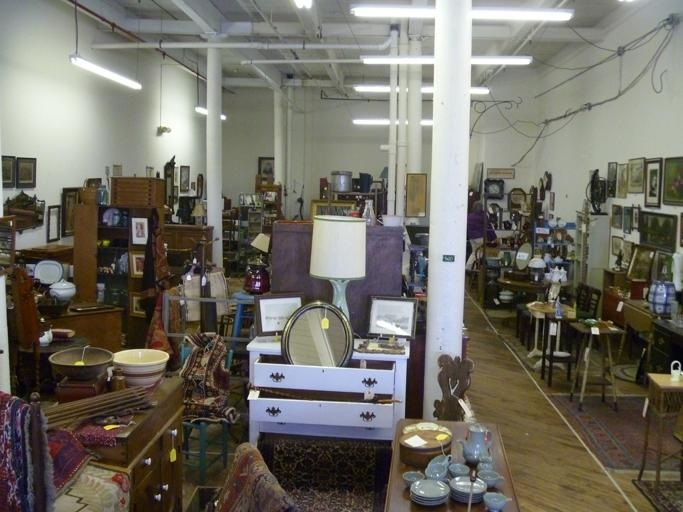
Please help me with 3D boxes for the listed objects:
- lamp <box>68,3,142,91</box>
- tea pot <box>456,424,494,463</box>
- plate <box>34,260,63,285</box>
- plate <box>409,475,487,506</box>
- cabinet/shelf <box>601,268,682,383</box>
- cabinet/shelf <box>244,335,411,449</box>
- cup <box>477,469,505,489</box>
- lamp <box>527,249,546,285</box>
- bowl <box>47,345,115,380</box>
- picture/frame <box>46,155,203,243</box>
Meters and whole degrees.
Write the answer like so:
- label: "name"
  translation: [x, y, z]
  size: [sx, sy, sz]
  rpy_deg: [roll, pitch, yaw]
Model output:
- label: "lamp"
  translation: [-4.425, -3.875, 10.070]
  size: [1.021, 1.284, 3.162]
  rpy_deg: [2, 11, -9]
- label: "tea pot"
  translation: [0.903, 1.278, 3.761]
  size: [0.240, 0.269, 0.174]
  rpy_deg: [1, -2, -20]
- label: "plate"
  translation: [-4.184, 0.224, 7.866]
  size: [0.367, 0.389, 0.102]
  rpy_deg: [1, -4, -9]
- label: "plate"
  translation: [0.645, 1.449, 3.390]
  size: [0.311, 0.072, 0.222]
  rpy_deg: [-1, 9, 0]
- label: "cabinet/shelf"
  translation: [4.223, 1.002, 7.689]
  size: [0.288, 0.825, 1.392]
  rpy_deg: [3, 8, 11]
- label: "cabinet/shelf"
  translation: [-0.118, 1.132, 4.493]
  size: [1.356, 1.037, 0.802]
  rpy_deg: [1, 1, 6]
- label: "cup"
  translation: [0.943, 1.408, 3.499]
  size: [0.105, 0.061, 0.093]
  rpy_deg: [0, -2, 0]
- label: "lamp"
  translation: [3.411, 0.200, 9.592]
  size: [0.263, 0.480, 0.805]
  rpy_deg: [7, 11, 21]
- label: "bowl"
  translation: [-1.799, 0.756, 3.801]
  size: [0.398, 0.153, 0.414]
  rpy_deg: [7, 8, -1]
- label: "picture/frame"
  translation: [-4.065, -1.042, 10.125]
  size: [2.079, 1.403, 0.779]
  rpy_deg: [1, 1, 7]
